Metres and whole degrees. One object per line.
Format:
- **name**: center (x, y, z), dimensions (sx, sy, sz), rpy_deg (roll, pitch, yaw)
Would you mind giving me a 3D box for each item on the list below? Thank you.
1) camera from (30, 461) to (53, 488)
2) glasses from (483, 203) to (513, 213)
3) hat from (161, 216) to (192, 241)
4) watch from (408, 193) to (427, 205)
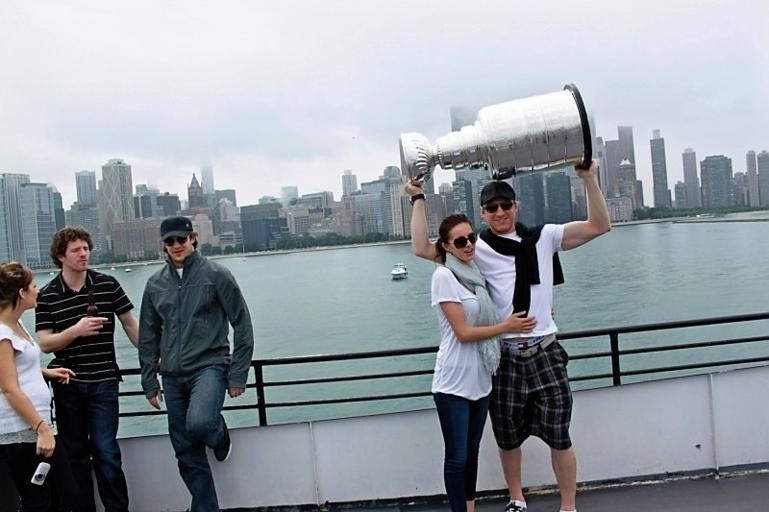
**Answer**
- **camera**: center (-2.617, 1.662, 4.240), dimensions (0.131, 0.206, 0.085), rpy_deg (-6, 2, -34)
- **glasses**: center (0.912, -0.389, 4.501), dimensions (0.225, 0.058, 0.053), rpy_deg (-4, 2, 17)
- **hat**: center (-1.820, -0.230, 4.847), dimensions (0.188, 0.138, 0.268), rpy_deg (-6, -1, 0)
- **watch**: center (0.266, -0.442, 4.543), dimensions (0.102, 0.068, 0.097), rpy_deg (-10, -10, 30)
